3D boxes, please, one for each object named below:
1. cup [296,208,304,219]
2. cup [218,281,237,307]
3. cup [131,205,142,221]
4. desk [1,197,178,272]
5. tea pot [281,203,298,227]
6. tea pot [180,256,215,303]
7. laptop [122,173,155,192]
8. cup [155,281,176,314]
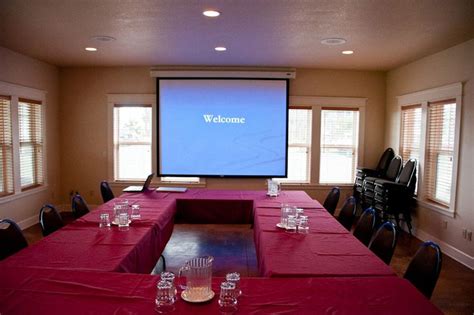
[{"bbox_3d":[0.741,0.709,4.066,0.119,0.131,0.119,1,-1,0],"label":"cup"},{"bbox_3d":[-0.091,1.171,2.736,0.138,0.159,0.147,0,-6,0],"label":"cup"},{"bbox_3d":[-1.306,0.740,4.238,0.156,0.205,0.163,0,-4,0],"label":"cup"},{"bbox_3d":[-1.585,1.060,4.011,1.188,0.561,1.893,2,5,5],"label":"desk"},{"bbox_3d":[0.594,0.721,4.058,0.169,0.283,0.283,1,-1,3],"label":"tea pot"},{"bbox_3d":[-0.347,1.046,2.922,0.375,0.392,0.350,-1,-1,0],"label":"tea pot"},{"bbox_3d":[-1.695,0.483,5.712,0.422,0.268,0.445,1,-2,0],"label":"laptop"},{"bbox_3d":[-0.547,1.170,2.732,0.208,0.236,0.225,0,-1,0],"label":"cup"}]
